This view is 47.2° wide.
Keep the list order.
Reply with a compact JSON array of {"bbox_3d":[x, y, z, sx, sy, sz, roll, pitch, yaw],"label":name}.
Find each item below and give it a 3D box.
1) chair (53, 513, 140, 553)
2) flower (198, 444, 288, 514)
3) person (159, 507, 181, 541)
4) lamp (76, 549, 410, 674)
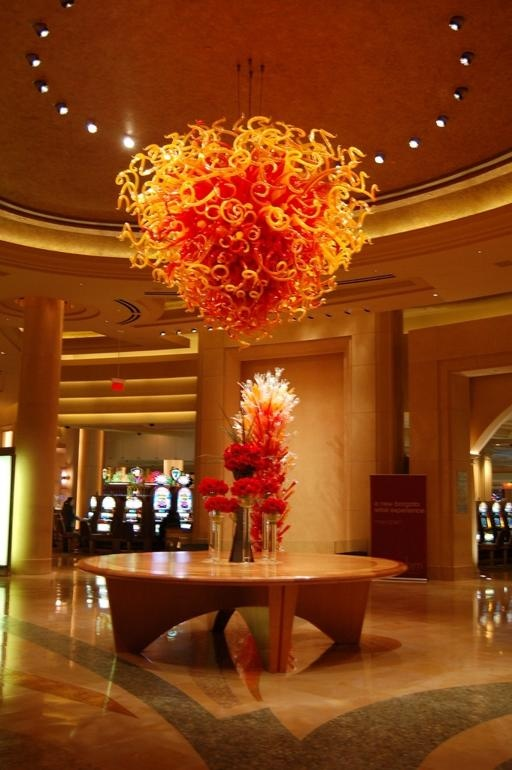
[{"bbox_3d":[-3.647,3.433,13.251,2.715,0.844,1.012,-5,-12,38],"label":"chair"},{"bbox_3d":[-0.076,0.604,3.837,0.479,0.567,0.574,-1,-3,7],"label":"flower"},{"bbox_3d":[-1.990,3.225,13.560,0.452,0.718,0.802,2,-9,2],"label":"person"},{"bbox_3d":[-0.058,1.329,3.766,1.331,0.340,1.352,-8,-13,40],"label":"lamp"}]
